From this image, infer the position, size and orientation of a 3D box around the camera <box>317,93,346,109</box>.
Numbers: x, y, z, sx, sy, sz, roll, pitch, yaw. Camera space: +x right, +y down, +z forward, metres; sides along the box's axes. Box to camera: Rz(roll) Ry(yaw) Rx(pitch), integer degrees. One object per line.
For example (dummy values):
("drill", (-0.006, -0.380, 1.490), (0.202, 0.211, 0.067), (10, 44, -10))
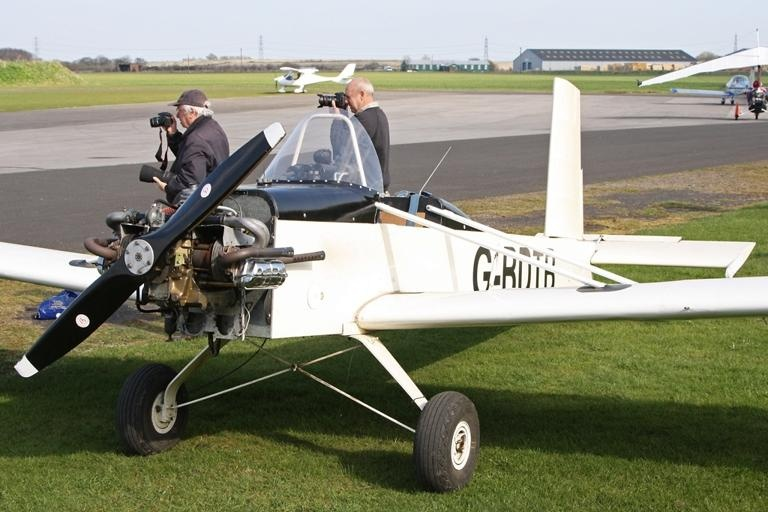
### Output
("camera", (-0.486, -1.527, 6.801), (0.278, 0.105, 0.211), (-2, 4, -34))

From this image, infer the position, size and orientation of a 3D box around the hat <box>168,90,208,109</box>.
("hat", (-1.992, -1.621, 7.223), (0.346, 0.171, 0.239), (14, 11, 2))

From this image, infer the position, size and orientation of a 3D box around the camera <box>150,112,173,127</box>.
("camera", (-2.369, -1.429, 7.390), (0.232, 0.120, 0.217), (-5, 5, 8))

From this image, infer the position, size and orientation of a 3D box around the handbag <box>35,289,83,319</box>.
("handbag", (-3.729, 0.560, 8.043), (0.445, 0.153, 0.318), (-26, 24, 2))

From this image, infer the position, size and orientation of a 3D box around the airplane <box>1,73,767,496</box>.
("airplane", (-0.044, 0.141, 6.537), (5.796, 2.353, 4.437), (1, 0, 36))
